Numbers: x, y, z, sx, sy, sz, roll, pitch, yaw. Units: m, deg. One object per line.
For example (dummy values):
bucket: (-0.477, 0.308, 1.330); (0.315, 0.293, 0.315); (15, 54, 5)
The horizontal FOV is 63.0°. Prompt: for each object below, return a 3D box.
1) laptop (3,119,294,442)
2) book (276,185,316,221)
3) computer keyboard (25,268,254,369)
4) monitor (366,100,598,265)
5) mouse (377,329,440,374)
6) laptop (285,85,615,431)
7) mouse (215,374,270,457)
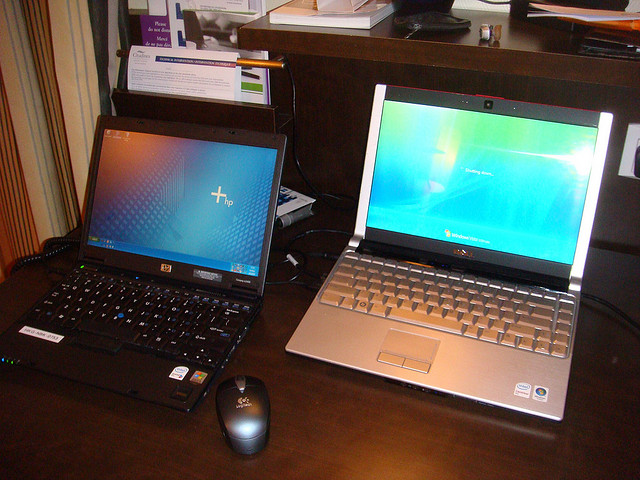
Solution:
laptop: (-0.331, 0.021, 0.951); (0.435, 0.385, 0.417); (11, 26, 14)
book: (-0.075, -0.098, 1.263); (0.078, 0.020, 0.075); (-21, 42, -26)
computer keyboard: (-0.346, 0.129, 0.990); (0.478, 0.032, 0.188); (9, 34, 22)
monitor: (0.320, -0.114, 1.003); (0.323, 0.212, 0.014); (9, 2, 12)
mouse: (0.149, 0.187, 0.889); (0.079, 0.010, 0.059); (13, 54, 20)
laptop: (0.245, -0.013, 0.921); (0.454, 0.420, 0.388); (13, 27, 17)
mouse: (-0.122, 0.263, 0.838); (0.089, 0.050, 0.156); (-5, 28, -12)
